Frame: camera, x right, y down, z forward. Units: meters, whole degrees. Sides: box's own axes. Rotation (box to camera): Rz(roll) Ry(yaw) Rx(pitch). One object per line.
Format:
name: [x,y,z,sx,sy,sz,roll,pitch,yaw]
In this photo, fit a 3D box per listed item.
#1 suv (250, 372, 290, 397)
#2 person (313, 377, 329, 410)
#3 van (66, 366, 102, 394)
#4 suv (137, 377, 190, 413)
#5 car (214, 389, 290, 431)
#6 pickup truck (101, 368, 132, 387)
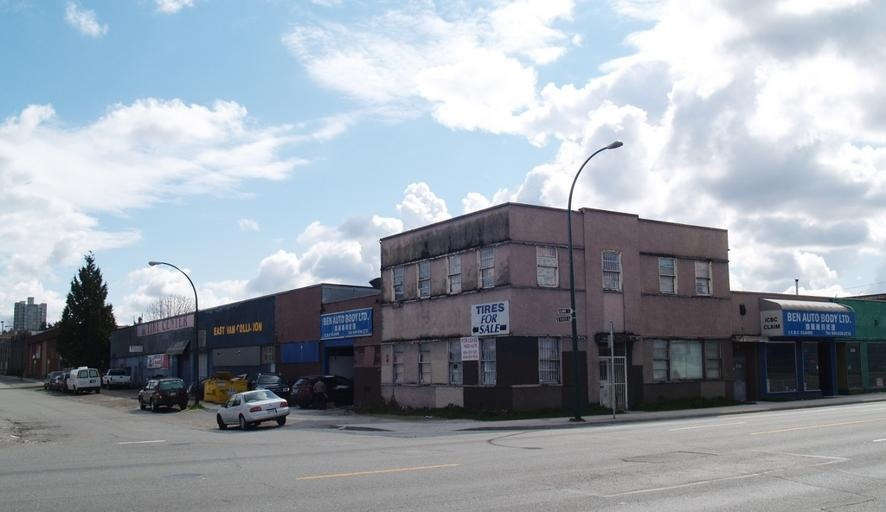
suv: [-13.210,9.957,61.241,1.756,1.430,2.832,3,-17,-20]
person: [-9.081,10.236,59.437,1.193,2.084,0.401,13,-22,-43]
van: [-37.317,12.832,82.727,2.275,2.006,4.049,2,-1,-33]
suv: [-21.484,10.681,61.447,4.508,2.702,1.935,-18,-22,42]
car: [-11.503,9.265,47.964,4.045,2.337,1.967,-10,-18,24]
pickup truck: [-37.153,13.865,90.452,1.887,1.496,3.801,2,-3,-30]
